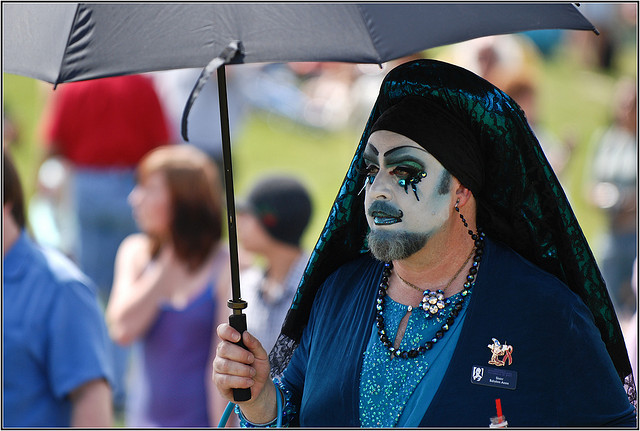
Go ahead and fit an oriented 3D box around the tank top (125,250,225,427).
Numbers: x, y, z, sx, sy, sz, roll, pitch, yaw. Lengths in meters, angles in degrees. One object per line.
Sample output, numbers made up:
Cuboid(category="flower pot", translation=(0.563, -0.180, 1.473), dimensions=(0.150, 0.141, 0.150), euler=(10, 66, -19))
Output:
Cuboid(category="tank top", translation=(-1.168, 1.085, 9.806), dimensions=(0.546, 1.464, 0.550), euler=(-32, 48, -33))
